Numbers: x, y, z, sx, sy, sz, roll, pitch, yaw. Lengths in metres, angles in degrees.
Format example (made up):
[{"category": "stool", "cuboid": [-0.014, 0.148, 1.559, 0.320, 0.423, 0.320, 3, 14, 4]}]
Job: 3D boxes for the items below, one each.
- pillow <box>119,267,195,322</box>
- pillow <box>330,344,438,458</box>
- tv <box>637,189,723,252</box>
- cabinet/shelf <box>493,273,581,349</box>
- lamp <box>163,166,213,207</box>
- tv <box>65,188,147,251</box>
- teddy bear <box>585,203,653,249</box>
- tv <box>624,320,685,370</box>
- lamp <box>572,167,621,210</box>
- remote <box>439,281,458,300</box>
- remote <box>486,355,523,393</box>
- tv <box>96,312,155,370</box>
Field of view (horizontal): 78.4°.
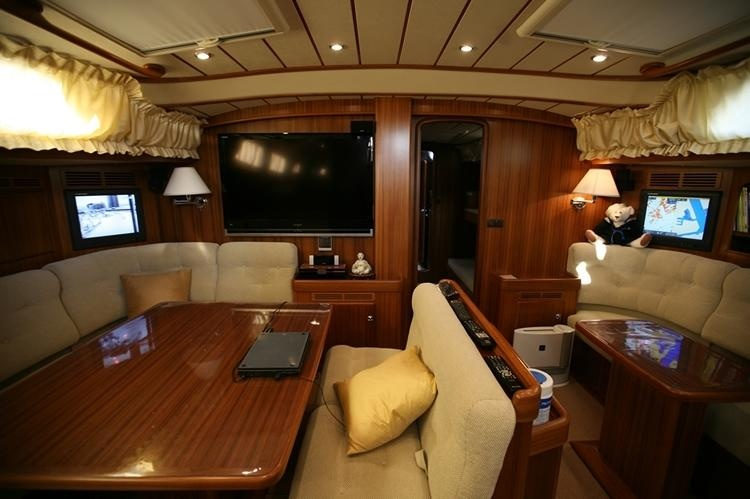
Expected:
[{"category": "pillow", "cuboid": [-2.013, 0.415, 4.171, 0.437, 0.292, 0.149, -15, 23, -30]}, {"category": "pillow", "cuboid": [0.123, 1.017, 3.074, 0.593, 0.205, 0.607, -30, 32, 9]}, {"category": "tv", "cuboid": [2.898, -0.262, 4.310, 0.060, 0.479, 0.558, -4, 11, -28]}, {"category": "cabinet/shelf", "cuboid": [1.525, 0.490, 4.889, 1.068, 1.014, 0.596, -1, 8, -1]}, {"category": "lamp", "cuboid": [-1.899, -0.620, 4.625, 0.423, 0.407, 0.398, -2, 10, -9]}, {"category": "tv", "cuboid": [-2.585, -0.286, 4.342, 0.055, 0.471, 0.558, 2, 12, 26]}, {"category": "teddy bear", "cuboid": [2.522, -0.369, 4.735, 0.671, 0.554, 0.419, 2, 13, 33]}, {"category": "tv", "cuboid": [2.157, 0.724, 3.522, 0.302, 0.080, 0.331, 11, 35, 41]}, {"category": "lamp", "cuboid": [2.257, -0.614, 4.681, 0.419, 0.415, 0.374, 1, 10, 5]}, {"category": "remote", "cuboid": [0.594, 0.329, 3.701, 0.112, 0.036, 0.154, 0, 18, -4]}, {"category": "remote", "cuboid": [0.806, 0.756, 2.844, 0.123, 0.045, 0.209, 0, 33, -18]}, {"category": "tv", "cuboid": [-1.835, 0.681, 3.408, 0.294, 0.080, 0.298, -15, 32, 1]}]
